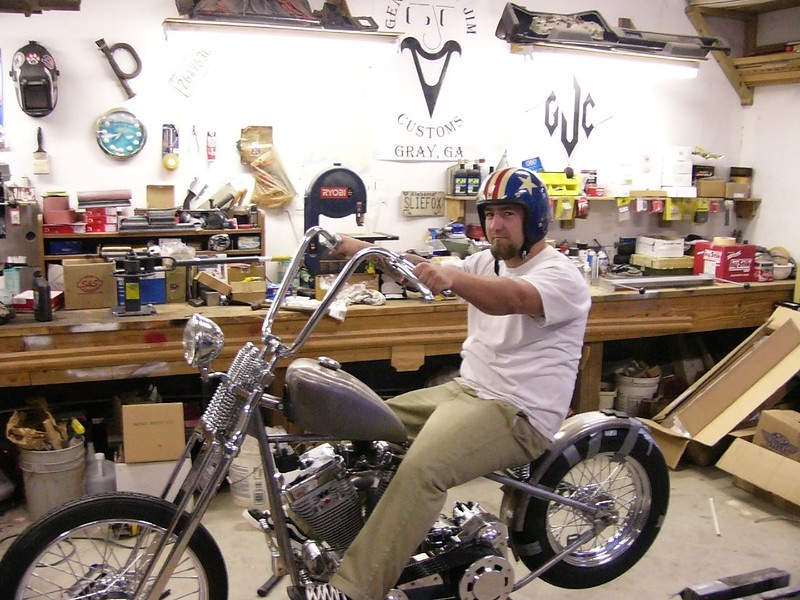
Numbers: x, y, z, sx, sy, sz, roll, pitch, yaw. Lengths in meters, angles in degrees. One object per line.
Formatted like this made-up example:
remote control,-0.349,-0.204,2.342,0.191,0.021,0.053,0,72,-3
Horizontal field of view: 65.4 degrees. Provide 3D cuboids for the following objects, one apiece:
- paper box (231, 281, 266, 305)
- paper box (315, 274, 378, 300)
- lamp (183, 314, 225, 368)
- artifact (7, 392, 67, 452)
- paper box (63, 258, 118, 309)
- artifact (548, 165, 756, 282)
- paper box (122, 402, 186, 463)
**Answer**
paper box,-0.969,-0.051,3.963,0.205,0.101,0.180,-1,10,-11
paper box,-0.372,-0.119,4.226,0.425,0.145,0.191,-1,30,-9
lamp,-0.711,0.155,2.256,0.126,0.219,0.146,-1,12,-16
artifact,-2.127,0.736,3.646,0.318,0.153,0.393,11,6,-37
paper box,-2.041,-0.102,3.934,0.424,0.266,0.390,-3,8,-30
artifact,2.012,-0.634,5.124,1.231,0.516,0.590,2,26,6
paper box,-1.482,0.771,3.617,0.449,0.341,0.134,-9,-20,18
